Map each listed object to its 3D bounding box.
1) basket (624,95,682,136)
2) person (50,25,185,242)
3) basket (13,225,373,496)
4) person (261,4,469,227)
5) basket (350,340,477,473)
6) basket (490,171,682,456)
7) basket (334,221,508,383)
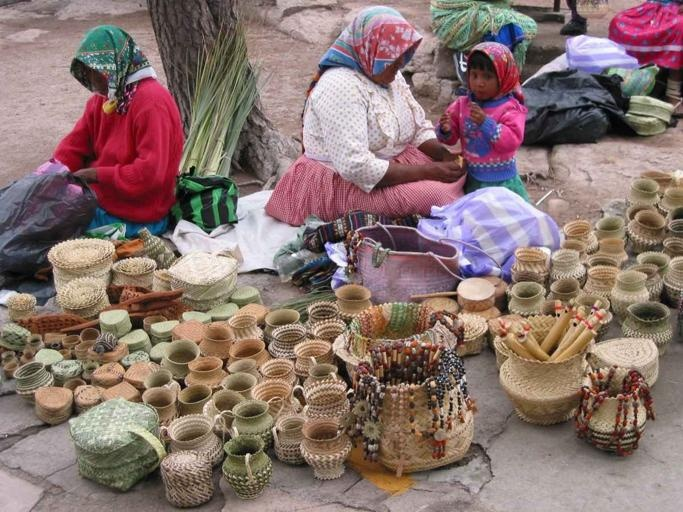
[{"bbox_3d":[2.736,-1.253,5.838,0.454,0.193,0.327,18,62,16],"label":"basket"},{"bbox_3d":[-1.576,-0.822,4.460,0.779,1.401,0.699,8,34,19],"label":"person"},{"bbox_3d":[-0.725,0.667,3.070,1.683,0.290,1.002,9,31,21],"label":"basket"},{"bbox_3d":[0.154,-0.852,4.268,1.315,1.414,0.754,1,32,8],"label":"person"},{"bbox_3d":[0.304,0.638,2.772,0.550,0.469,0.377,-4,31,-1],"label":"basket"},{"bbox_3d":[1.059,0.467,2.883,0.677,0.538,0.529,13,35,27],"label":"basket"},{"bbox_3d":[0.386,0.200,3.819,0.783,0.652,0.778,-12,23,-30],"label":"basket"}]
